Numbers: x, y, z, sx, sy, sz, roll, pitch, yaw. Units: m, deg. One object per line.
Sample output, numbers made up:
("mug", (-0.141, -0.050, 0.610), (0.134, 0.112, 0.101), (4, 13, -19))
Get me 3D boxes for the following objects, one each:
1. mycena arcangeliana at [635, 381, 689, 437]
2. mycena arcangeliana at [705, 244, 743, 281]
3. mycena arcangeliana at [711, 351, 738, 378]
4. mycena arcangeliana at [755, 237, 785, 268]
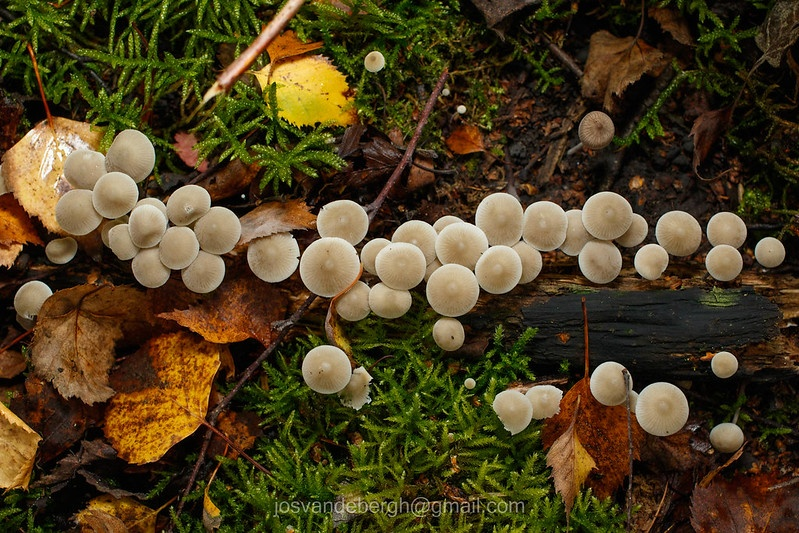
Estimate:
("mycena arcangeliana", (2.663, 1.452, 8.585), (0.509, 0.190, 0.533), (7, 82, -1))
("mycena arcangeliana", (3.383, -0.017, 8.886), (0.361, 0.249, 0.396), (-15, 82, -4))
("mycena arcangeliana", (3.320, 1.009, 8.690), (0.260, 0.146, 0.265), (31, 82, 2))
("mycena arcangeliana", (3.913, -0.149, 8.976), (0.294, 0.156, 0.304), (-18, 87, 9))
